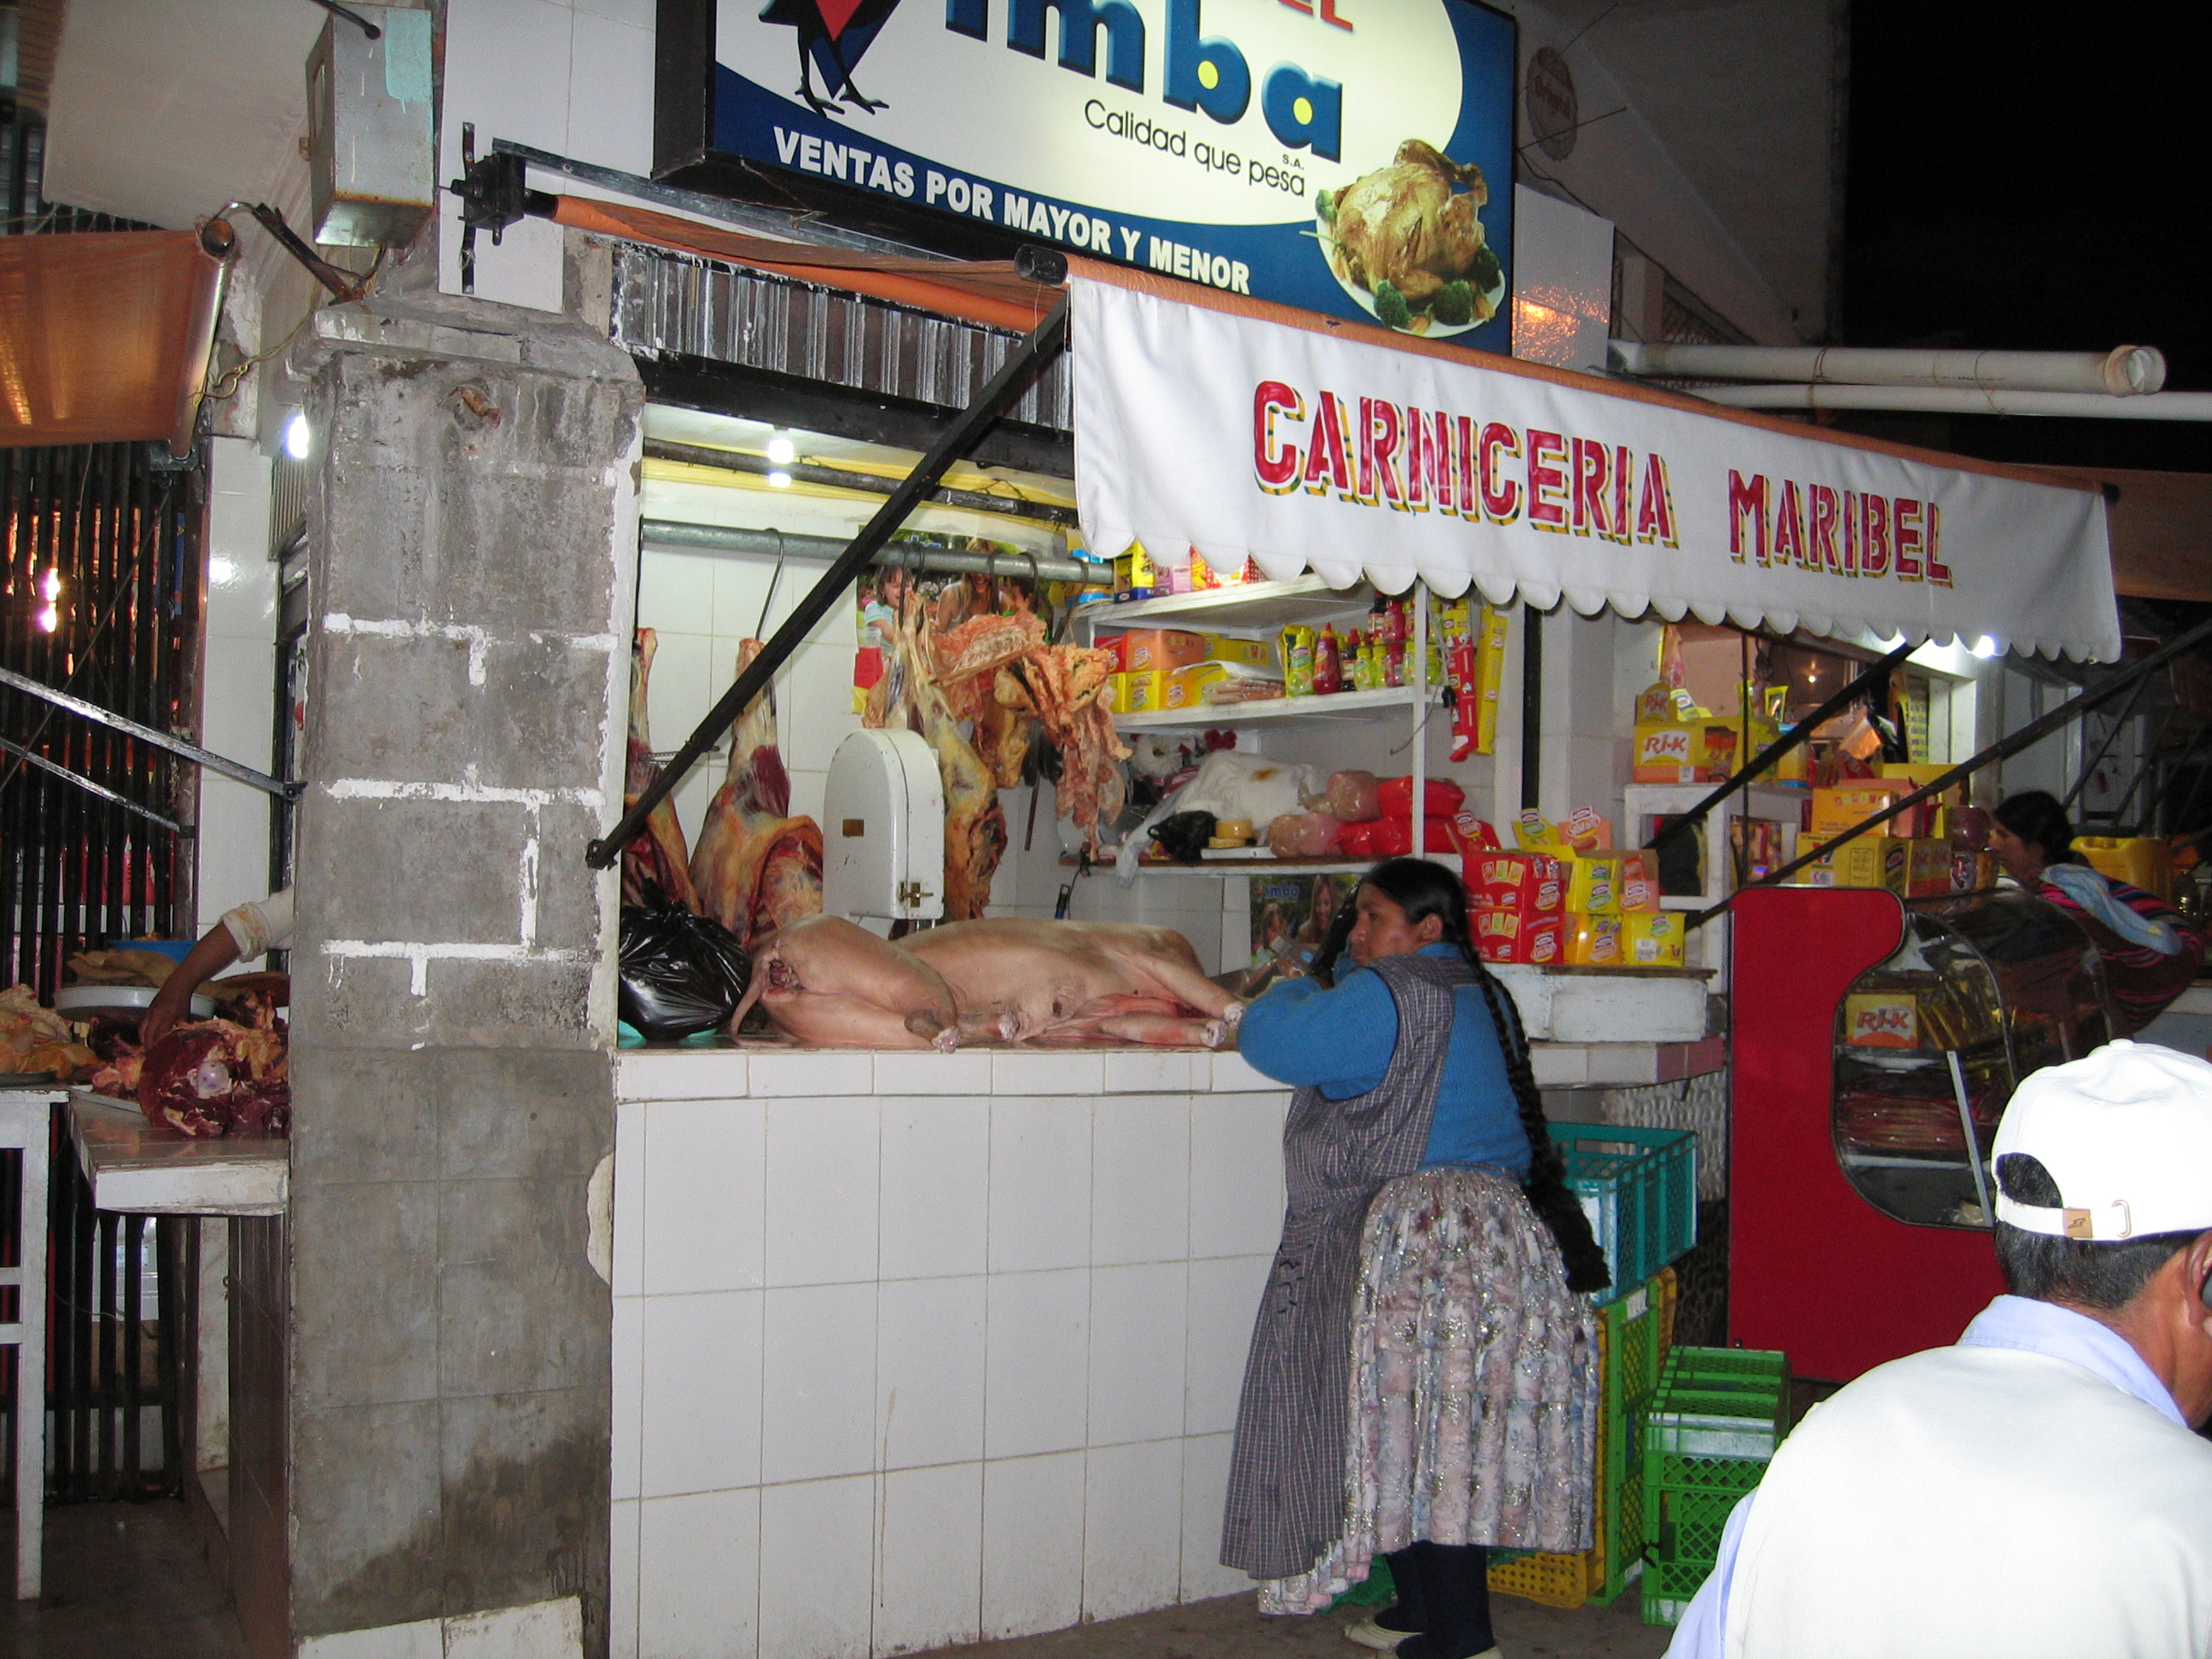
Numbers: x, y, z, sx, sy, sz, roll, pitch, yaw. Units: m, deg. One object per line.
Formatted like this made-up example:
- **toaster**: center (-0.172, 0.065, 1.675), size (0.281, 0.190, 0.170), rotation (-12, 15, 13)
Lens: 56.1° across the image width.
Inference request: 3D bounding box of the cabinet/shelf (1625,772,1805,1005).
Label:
- **cabinet/shelf**: center (2.134, 0.232, 7.363), size (0.665, 0.717, 0.358), rotation (-9, 11, -38)

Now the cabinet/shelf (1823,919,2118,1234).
- **cabinet/shelf**: center (3.128, 0.674, 7.290), size (1.434, 0.768, 0.874), rotation (-18, 7, -39)

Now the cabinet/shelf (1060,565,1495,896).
- **cabinet/shelf**: center (0.624, -0.399, 7.524), size (0.770, 1.175, 1.771), rotation (5, -3, -44)

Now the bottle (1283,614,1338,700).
- **bottle**: center (0.727, -0.587, 7.335), size (0.119, 0.259, 0.267), rotation (4, -3, -27)
